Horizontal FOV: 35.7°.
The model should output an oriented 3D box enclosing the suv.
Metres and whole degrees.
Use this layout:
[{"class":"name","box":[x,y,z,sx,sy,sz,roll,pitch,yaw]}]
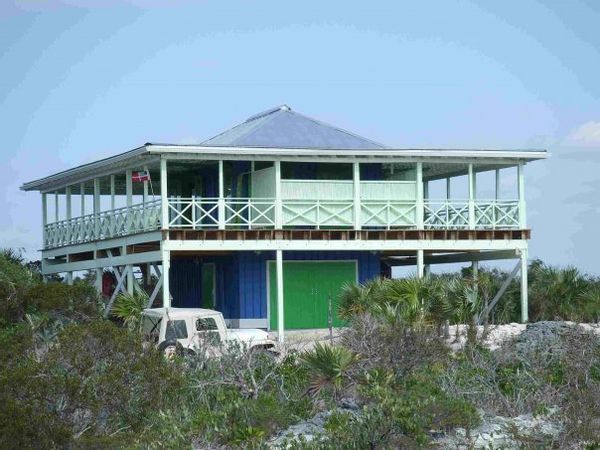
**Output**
[{"class":"suv","box":[-1.952,2.813,21.177,2.402,1.743,1.529,-3,1,-19]}]
